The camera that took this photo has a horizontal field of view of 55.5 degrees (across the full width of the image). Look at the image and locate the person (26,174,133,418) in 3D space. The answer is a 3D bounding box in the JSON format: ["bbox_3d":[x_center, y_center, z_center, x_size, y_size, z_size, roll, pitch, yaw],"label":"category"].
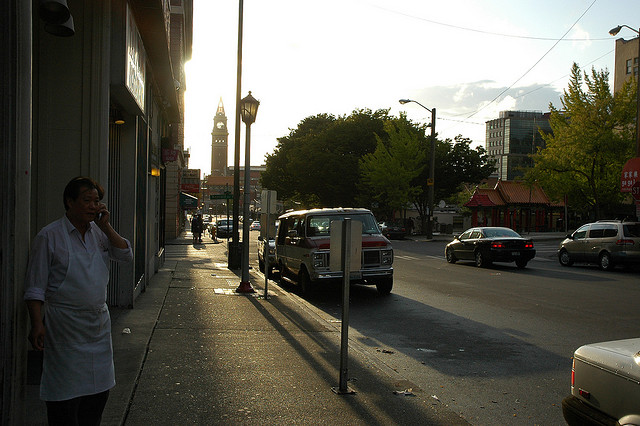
[{"bbox_3d":[-2.306,0.785,5.738,0.853,2.251,0.295,-1,2,-28],"label":"person"}]

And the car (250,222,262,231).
[{"bbox_3d":[-6.932,1.374,64.851,0.791,0.643,1.870,0,6,-6],"label":"car"}]

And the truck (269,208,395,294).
[{"bbox_3d":[0.062,0.917,16.989,1.981,1.704,3.392,0,-3,-21],"label":"truck"}]

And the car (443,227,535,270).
[{"bbox_3d":[6.705,1.319,24.475,1.862,1.519,3.287,-1,2,-29],"label":"car"}]

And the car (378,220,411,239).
[{"bbox_3d":[5.946,1.190,49.497,1.237,0.981,2.797,-1,6,-3],"label":"car"}]

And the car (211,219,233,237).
[{"bbox_3d":[-7.894,1.441,49.023,1.928,1.596,4.524,0,6,-14],"label":"car"}]
